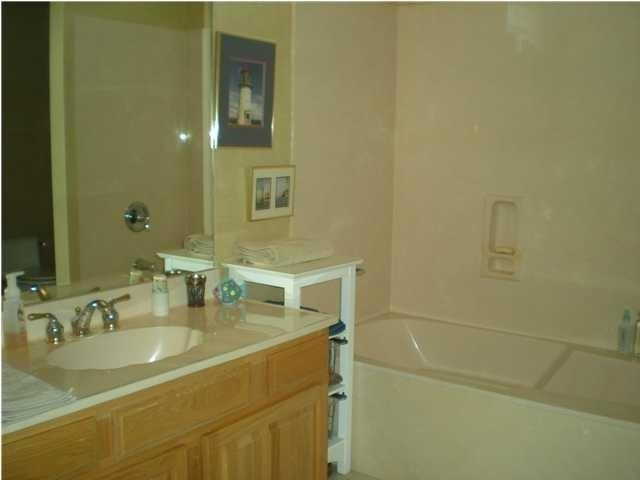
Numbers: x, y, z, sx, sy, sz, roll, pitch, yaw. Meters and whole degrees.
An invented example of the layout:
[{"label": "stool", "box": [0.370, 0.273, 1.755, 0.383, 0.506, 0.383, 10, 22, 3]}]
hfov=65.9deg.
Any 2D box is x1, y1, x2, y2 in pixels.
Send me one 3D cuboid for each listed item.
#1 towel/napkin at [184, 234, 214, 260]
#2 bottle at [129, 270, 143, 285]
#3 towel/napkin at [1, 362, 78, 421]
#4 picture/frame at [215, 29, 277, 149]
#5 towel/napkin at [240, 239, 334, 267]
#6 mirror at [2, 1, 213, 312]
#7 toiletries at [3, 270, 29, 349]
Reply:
[{"label": "towel/napkin", "box": [-0.530, 0.033, 2.192, 0.096, 0.040, 0.098, 11, 13, 34]}, {"label": "bottle", "box": [-0.720, 0.144, 1.930, 0.046, 0.082, 0.054, 1, 3, -23]}, {"label": "towel/napkin", "box": [-0.776, 0.404, 1.303, 0.137, 0.035, 0.142, 13, 10, 30]}, {"label": "picture/frame", "box": [-0.349, -0.706, 2.376, 0.029, 0.542, 0.410, 7, 9, 32]}, {"label": "towel/napkin", "box": [-0.150, 0.061, 2.345, 0.188, 0.067, 0.237, 4, 7, 41]}, {"label": "mirror", "box": [-0.769, -0.399, 1.854, 0.118, 1.162, 0.826, 8, 9, 34]}, {"label": "toiletries", "box": [-0.956, 0.218, 1.532, 0.060, 0.210, 0.117, -5, 10, -41]}]
